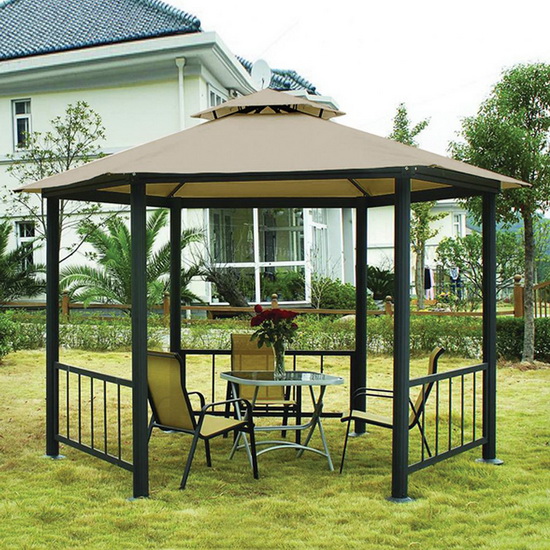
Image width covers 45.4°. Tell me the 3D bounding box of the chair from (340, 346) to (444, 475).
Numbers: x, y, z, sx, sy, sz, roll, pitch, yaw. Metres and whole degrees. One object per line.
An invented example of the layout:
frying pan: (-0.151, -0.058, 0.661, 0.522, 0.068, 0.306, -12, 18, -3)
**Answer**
chair: (1.191, 1.300, 7.036, 0.976, 1.207, 3.334, -1, -1, 6)

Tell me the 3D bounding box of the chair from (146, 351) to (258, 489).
chair: (-0.681, 1.323, 6.080, 0.956, 1.229, 1.063, -2, -5, 30)

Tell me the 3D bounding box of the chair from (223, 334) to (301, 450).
chair: (-0.138, 1.175, 7.036, 0.767, 1.145, 0.866, 1, -5, -26)

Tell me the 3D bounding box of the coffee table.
coffee table: (0.062, 1.424, 6.379, 1.070, 0.801, 0.934, 3, -9, -10)
